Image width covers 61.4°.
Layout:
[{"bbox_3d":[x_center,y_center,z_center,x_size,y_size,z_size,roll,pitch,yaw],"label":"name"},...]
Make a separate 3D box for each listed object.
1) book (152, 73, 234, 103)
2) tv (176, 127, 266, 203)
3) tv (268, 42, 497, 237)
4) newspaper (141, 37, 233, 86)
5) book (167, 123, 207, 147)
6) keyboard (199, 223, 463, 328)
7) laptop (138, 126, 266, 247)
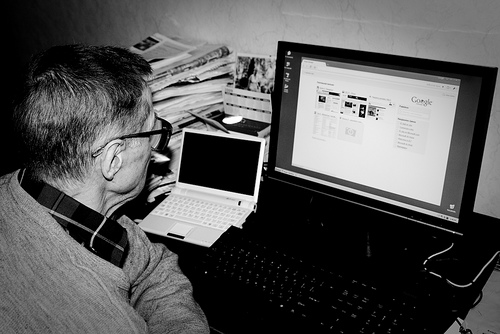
[{"bbox_3d":[-0.217,-0.321,1.683,0.176,0.040,0.175,-2,19,29],"label":"book"},{"bbox_3d":[-0.103,0.001,1.524,0.259,0.174,0.007,13,4,15],"label":"tv"},{"bbox_3d":[0.411,-0.091,1.279,0.592,0.409,0.043,22,27,27],"label":"tv"},{"bbox_3d":[-0.237,-0.395,1.708,0.283,0.066,0.288,-27,35,-17],"label":"newspaper"},{"bbox_3d":[-0.234,-0.114,1.550,0.095,0.052,0.010,-33,-4,0],"label":"book"},{"bbox_3d":[0.158,0.349,1.182,0.460,0.046,0.245,18,47,26],"label":"keyboard"},{"bbox_3d":[-0.127,0.122,1.571,0.420,0.255,0.415,17,45,20],"label":"laptop"}]
